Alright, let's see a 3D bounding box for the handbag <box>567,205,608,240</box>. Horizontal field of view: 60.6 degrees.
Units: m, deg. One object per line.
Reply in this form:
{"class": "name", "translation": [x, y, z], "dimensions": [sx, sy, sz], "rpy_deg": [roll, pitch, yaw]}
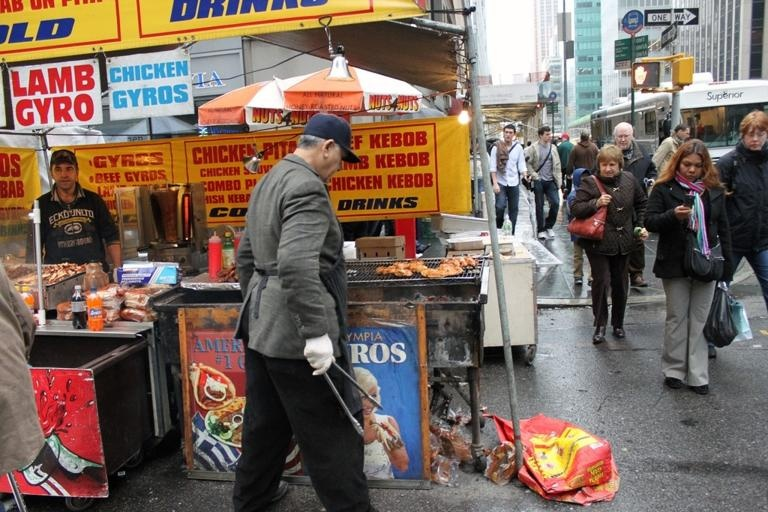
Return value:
{"class": "handbag", "translation": [2.562, -0.430, 8.201], "dimensions": [0.156, 0.400, 0.402], "rpy_deg": [28, -7, -27]}

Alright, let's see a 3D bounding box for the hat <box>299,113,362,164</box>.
{"class": "hat", "translation": [-0.375, -0.953, 5.261], "dimensions": [0.459, 0.237, 0.319], "rpy_deg": [20, 3, -33]}

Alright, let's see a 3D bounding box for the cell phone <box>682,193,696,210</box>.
{"class": "cell phone", "translation": [3.354, -0.606, 7.204], "dimensions": [0.120, 0.168, 0.056], "rpy_deg": [8, -13, -12]}

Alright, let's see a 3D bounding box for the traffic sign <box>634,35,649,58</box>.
{"class": "traffic sign", "translation": [6.421, -5.246, 16.418], "dimensions": [0.298, 0.579, 0.763], "rpy_deg": [0, 8, 20]}

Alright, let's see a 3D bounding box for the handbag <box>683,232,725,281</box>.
{"class": "handbag", "translation": [3.428, 0.014, 7.052], "dimensions": [0.478, 0.581, 0.302], "rpy_deg": [3, -4, 0]}

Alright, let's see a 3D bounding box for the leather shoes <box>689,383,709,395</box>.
{"class": "leather shoes", "translation": [3.456, 1.460, 7.208], "dimensions": [0.081, 0.098, 0.237], "rpy_deg": [-2, -9, 3]}

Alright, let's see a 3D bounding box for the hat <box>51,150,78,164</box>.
{"class": "hat", "translation": [-3.664, -1.139, 7.531], "dimensions": [0.234, 0.162, 0.310], "rpy_deg": [-6, 8, -21]}

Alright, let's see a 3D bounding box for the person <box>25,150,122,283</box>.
{"class": "person", "translation": [-3.537, -0.401, 7.675], "dimensions": [0.668, 1.959, 0.630], "rpy_deg": [0, 2, 3]}

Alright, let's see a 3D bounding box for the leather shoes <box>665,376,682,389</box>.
{"class": "leather shoes", "translation": [3.229, 1.412, 7.315], "dimensions": [0.181, 0.077, 0.082], "rpy_deg": [11, 12, 31]}

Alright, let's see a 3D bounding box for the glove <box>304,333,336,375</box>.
{"class": "glove", "translation": [-0.471, 0.715, 4.879], "dimensions": [0.217, 0.294, 0.135], "rpy_deg": [9, 0, 4]}

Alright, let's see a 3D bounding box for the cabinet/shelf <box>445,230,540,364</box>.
{"class": "cabinet/shelf", "translation": [1.444, 0.546, 8.135], "dimensions": [1.228, 1.546, 0.844], "rpy_deg": [-10, 10, -43]}

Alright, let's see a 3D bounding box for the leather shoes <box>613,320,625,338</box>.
{"class": "leather shoes", "translation": [3.102, 0.970, 8.662], "dimensions": [0.113, 0.132, 0.308], "rpy_deg": [-1, -2, 11]}
